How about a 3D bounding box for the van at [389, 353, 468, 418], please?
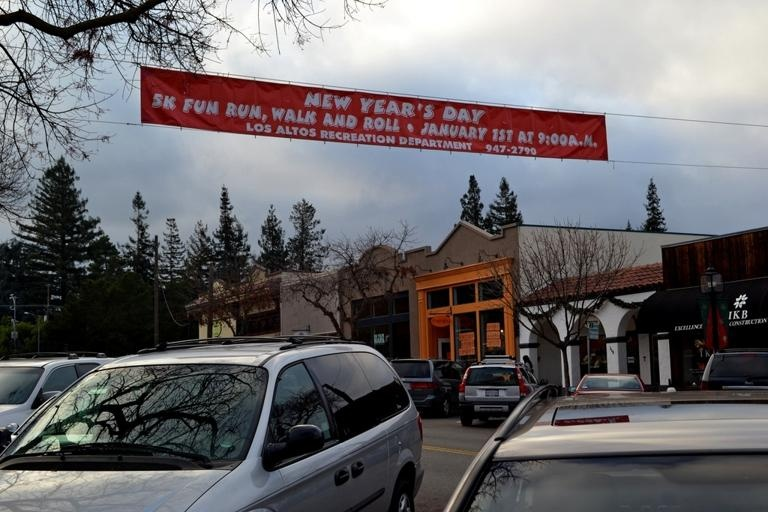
[{"bbox_3d":[1.639,4.346,24.410,1.494,1.264,2.842,-3,-3,38],"label":"van"}]
